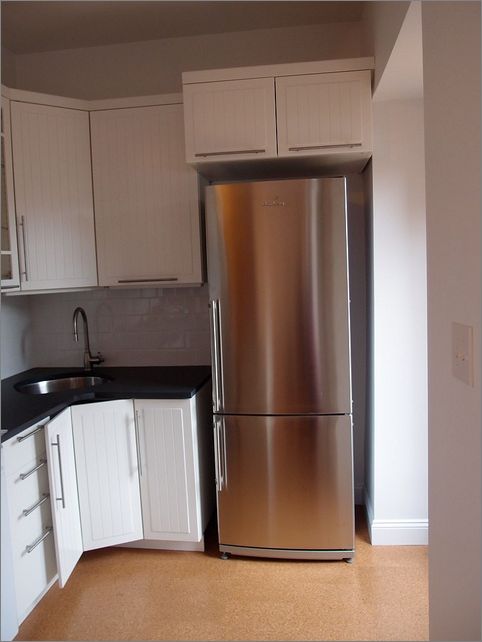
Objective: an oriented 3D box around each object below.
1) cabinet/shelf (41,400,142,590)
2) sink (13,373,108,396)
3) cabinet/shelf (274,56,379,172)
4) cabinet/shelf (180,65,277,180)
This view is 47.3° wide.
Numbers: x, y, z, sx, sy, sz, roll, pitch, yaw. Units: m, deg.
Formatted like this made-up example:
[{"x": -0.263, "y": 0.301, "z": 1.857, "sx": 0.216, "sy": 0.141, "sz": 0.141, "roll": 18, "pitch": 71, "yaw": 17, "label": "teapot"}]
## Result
[{"x": -0.669, "y": 0.703, "z": 2.333, "sx": 0.221, "sy": 0.663, "sz": 0.506, "roll": 1, "pitch": 7, "yaw": 30, "label": "cabinet/shelf"}, {"x": -0.923, "y": 0.333, "z": 2.855, "sx": 0.447, "sy": 0.096, "sz": 0.263, "roll": -4, "pitch": 7, "yaw": -16, "label": "sink"}, {"x": 0.362, "y": -0.914, "z": 2.488, "sx": 0.395, "sy": 0.392, "sz": 0.272, "roll": -3, "pitch": 6, "yaw": 1, "label": "cabinet/shelf"}, {"x": -0.063, "y": -0.961, "z": 2.525, "sx": 0.390, "sy": 0.375, "sz": 0.237, "roll": -6, "pitch": 33, "yaw": -5, "label": "cabinet/shelf"}]
